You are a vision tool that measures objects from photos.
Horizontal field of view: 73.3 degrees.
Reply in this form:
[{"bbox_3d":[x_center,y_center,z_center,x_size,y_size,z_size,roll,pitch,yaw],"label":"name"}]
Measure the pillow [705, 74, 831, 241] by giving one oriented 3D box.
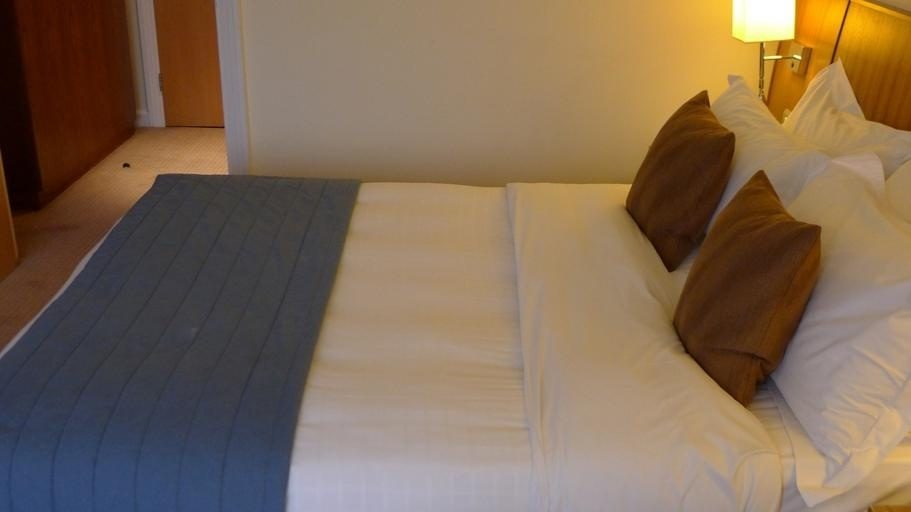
[{"bbox_3d":[1.318,-0.379,2.674,0.179,0.504,0.674,24,31,-14],"label":"pillow"}]
